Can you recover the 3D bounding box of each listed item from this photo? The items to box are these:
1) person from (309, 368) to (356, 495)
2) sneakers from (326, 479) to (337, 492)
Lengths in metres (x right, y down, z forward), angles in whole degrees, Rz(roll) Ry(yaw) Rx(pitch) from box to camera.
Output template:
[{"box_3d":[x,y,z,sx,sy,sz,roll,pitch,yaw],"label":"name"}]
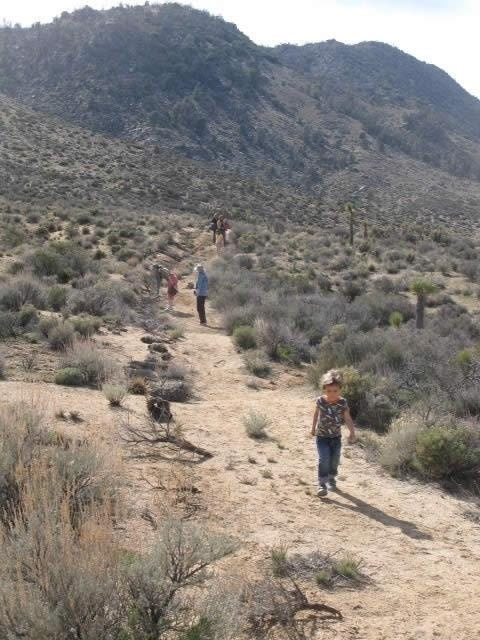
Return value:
[{"box_3d":[0.857,1.050,7.939,0.477,1.120,0.548,-2,9,-26],"label":"person"},{"box_3d":[0.885,1.591,7.913,0.117,0.152,0.048,-1,3,1],"label":"sneakers"}]
